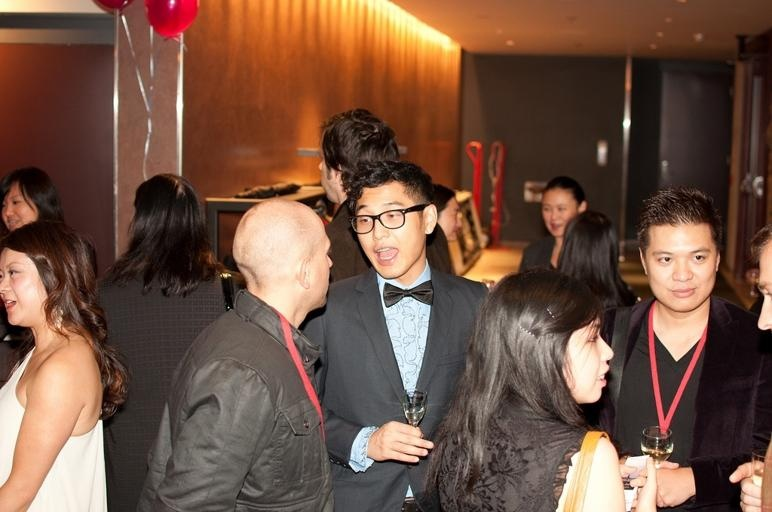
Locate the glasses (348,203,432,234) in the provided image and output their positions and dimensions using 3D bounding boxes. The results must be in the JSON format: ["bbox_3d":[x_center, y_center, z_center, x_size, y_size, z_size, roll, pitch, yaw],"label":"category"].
[{"bbox_3d":[0.018,-0.178,3.059,0.391,0.141,0.160,-1,5,3],"label":"glasses"}]
